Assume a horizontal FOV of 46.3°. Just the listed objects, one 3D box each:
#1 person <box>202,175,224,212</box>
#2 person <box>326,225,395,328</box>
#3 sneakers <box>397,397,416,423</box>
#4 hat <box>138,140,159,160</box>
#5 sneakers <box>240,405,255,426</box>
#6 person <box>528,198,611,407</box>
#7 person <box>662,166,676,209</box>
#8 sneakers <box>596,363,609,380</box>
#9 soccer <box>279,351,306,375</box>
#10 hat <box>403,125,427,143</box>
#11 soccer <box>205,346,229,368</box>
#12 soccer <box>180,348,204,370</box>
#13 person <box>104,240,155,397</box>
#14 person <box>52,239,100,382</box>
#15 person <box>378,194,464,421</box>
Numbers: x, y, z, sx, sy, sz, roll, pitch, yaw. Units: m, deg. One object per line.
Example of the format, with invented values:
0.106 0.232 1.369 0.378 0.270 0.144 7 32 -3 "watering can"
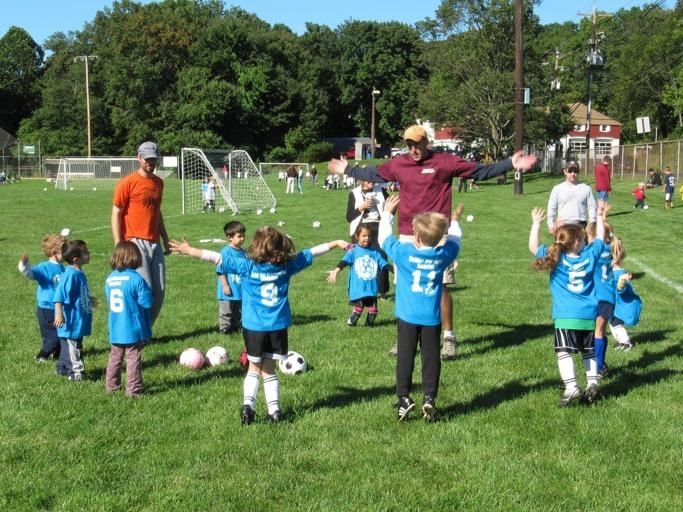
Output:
-5.002 -2.395 30.838 0.528 1.381 1.650 -3 13 -9 "person"
0.356 0.332 12.146 1.048 1.749 0.571 1 22 2 "person"
0.710 1.688 8.843 0.118 0.167 0.334 -25 -22 -25 "sneakers"
-2.550 -1.399 10.637 0.174 0.165 0.254 5 7 -26 "hat"
-1.011 1.745 8.873 0.191 0.204 0.134 -8 15 -30 "sneakers"
2.675 0.544 9.448 0.801 2.121 1.162 3 13 18 "person"
11.456 -2.384 27.970 0.303 1.437 2.722 4 14 22 "person"
3.204 1.410 9.824 0.126 0.170 0.345 -6 -10 13 "sneakers"
-0.606 1.383 10.178 0.316 0.378 0.344 -1 5 -6 "soccer"
0.895 -1.448 9.523 0.272 0.188 0.319 1 14 5 "hat"
-1.611 1.322 10.479 0.222 0.202 0.237 2 8 -4 "soccer"
-1.903 1.332 10.315 0.245 0.275 0.258 5 -3 -22 "soccer"
-2.533 0.736 9.520 0.531 1.750 0.516 6 14 29 "person"
-3.337 0.660 9.991 0.446 1.633 0.573 3 13 17 "person"
0.826 0.553 8.968 0.806 2.444 0.656 2 2 -2 "person"
